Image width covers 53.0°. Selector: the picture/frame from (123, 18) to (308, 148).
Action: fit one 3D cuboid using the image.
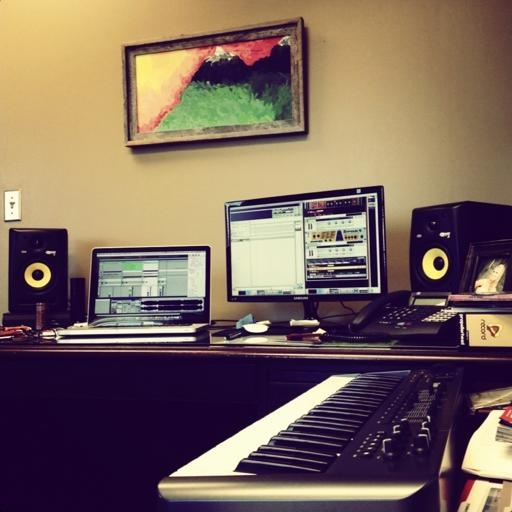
[{"bbox_3d":[-0.169,-0.628,1.905,0.702,0.393,0.039,-2,3,15],"label":"picture/frame"}]
